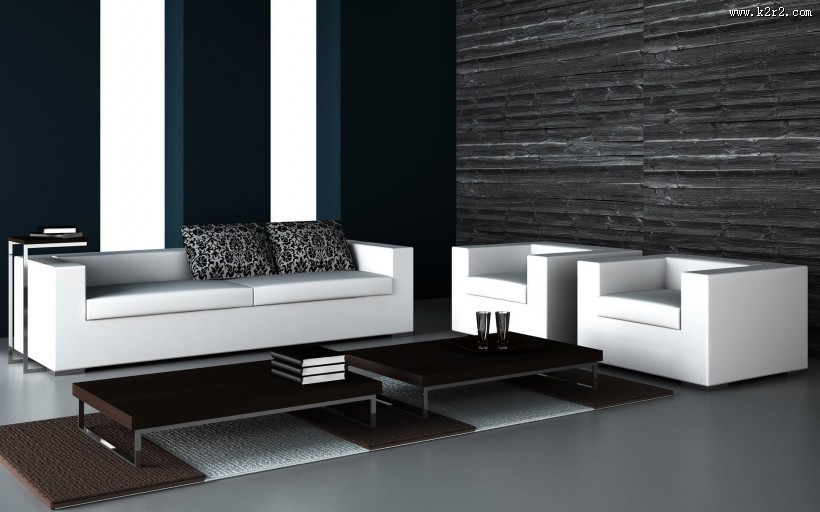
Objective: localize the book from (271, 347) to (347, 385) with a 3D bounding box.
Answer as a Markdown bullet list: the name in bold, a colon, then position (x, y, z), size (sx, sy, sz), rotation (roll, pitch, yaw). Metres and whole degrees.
- **book**: position (-0.579, 0.608, 3.360), size (0.261, 0.091, 0.292), rotation (-1, 2, -27)
